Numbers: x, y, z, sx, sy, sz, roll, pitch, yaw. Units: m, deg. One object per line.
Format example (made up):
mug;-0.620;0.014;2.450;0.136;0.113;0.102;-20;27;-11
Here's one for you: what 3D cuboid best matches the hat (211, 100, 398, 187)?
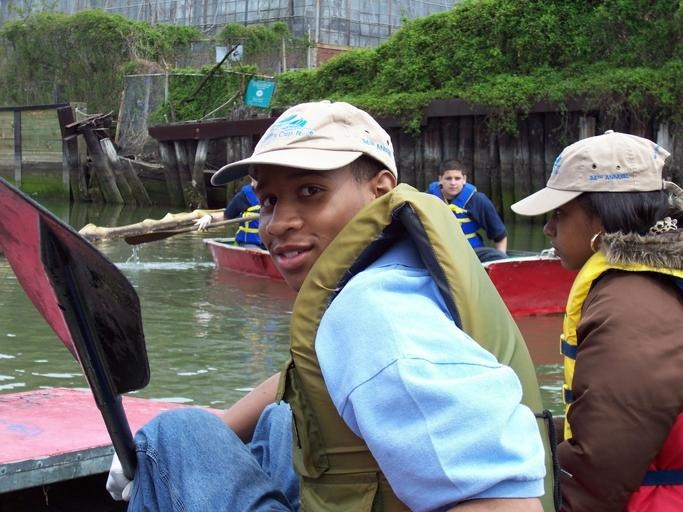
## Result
hat;-0.083;-0.367;3.234;0.406;0.235;0.312;7;-12;-21
